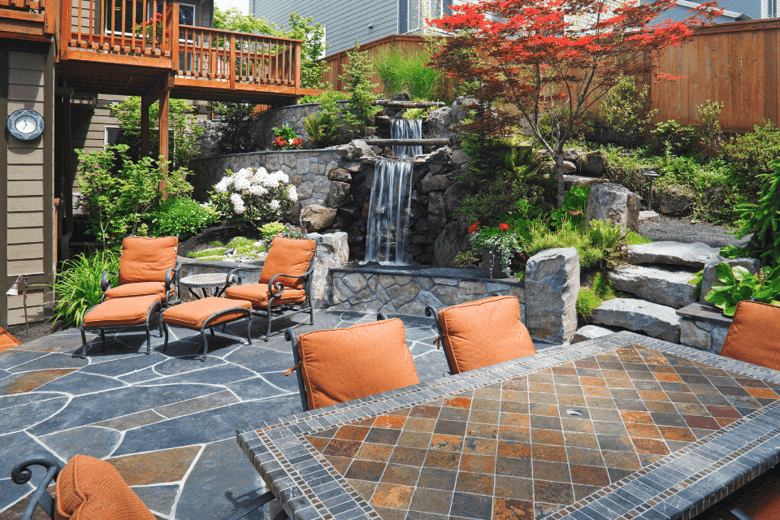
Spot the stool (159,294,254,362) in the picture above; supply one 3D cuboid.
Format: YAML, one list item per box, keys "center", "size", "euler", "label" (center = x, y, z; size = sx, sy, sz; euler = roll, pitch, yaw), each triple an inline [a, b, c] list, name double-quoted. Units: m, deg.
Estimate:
- center: [-2.434, 0.844, 7.020]
  size: [1.031, 0.678, 1.024]
  euler: [8, 15, 27]
  label: "stool"

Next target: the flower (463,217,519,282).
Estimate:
- center: [1.669, -0.186, 8.394]
  size: [0.892, 0.903, 0.869]
  euler: [2, -7, -5]
  label: "flower"

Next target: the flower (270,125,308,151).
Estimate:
- center: [-2.631, -3.107, 13.479]
  size: [0.945, 0.735, 0.849]
  euler: [2, 11, 13]
  label: "flower"

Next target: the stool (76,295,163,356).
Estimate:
- center: [-3.525, 0.825, 6.908]
  size: [0.881, 0.597, 0.780]
  euler: [-2, 14, -11]
  label: "stool"

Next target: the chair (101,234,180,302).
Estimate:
- center: [-3.584, 0.077, 7.656]
  size: [0.800, 0.923, 1.043]
  euler: [-1, 1, 2]
  label: "chair"

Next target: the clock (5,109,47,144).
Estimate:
- center: [-5.633, -2.081, 8.132]
  size: [0.507, 0.470, 0.165]
  euler: [-8, 16, -32]
  label: "clock"

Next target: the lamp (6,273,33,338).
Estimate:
- center: [-5.563, 0.666, 7.895]
  size: [0.293, 0.795, 0.752]
  euler: [-10, 17, -35]
  label: "lamp"
